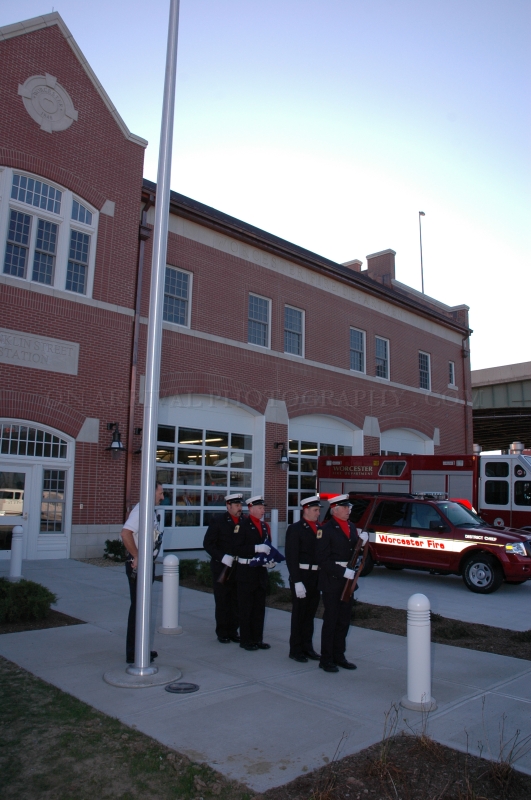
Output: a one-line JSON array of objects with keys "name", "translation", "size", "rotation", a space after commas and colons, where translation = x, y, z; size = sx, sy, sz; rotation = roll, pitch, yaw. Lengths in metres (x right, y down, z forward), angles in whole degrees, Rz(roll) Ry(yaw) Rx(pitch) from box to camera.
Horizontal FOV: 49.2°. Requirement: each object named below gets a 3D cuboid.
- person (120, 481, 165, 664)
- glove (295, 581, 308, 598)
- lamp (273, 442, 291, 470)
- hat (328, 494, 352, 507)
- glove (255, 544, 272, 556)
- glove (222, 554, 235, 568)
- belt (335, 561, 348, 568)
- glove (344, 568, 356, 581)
[{"name": "person", "translation": [-1.313, 1.816, 6.148], "size": [0.460, 1.824, 1.285], "rotation": [4, -11, -11]}, {"name": "glove", "translation": [0.383, 2.106, 6.425], "size": [0.103, 0.140, 0.182], "rotation": [-14, -40, -16]}, {"name": "lamp", "translation": [0.521, 1.936, 20.595], "size": [0.485, 0.896, 0.206], "rotation": [4, -11, -7]}, {"name": "hat", "translation": [0.778, 1.133, 6.560], "size": [0.235, 0.120, 0.260], "rotation": [1, -5, -45]}, {"name": "glove", "translation": [-0.034, 1.797, 6.956], "size": [0.182, 0.117, 0.104], "rotation": [2, -11, 2]}, {"name": "glove", "translation": [-0.482, 1.996, 7.217], "size": [0.122, 0.162, 0.044], "rotation": [15, -13, -25]}, {"name": "belt", "translation": [0.807, 1.744, 6.175], "size": [0.077, 0.036, 0.059], "rotation": [10, 5, 22]}, {"name": "glove", "translation": [0.889, 1.838, 6.117], "size": [0.150, 0.124, 0.120], "rotation": [5, -11, -14]}]
